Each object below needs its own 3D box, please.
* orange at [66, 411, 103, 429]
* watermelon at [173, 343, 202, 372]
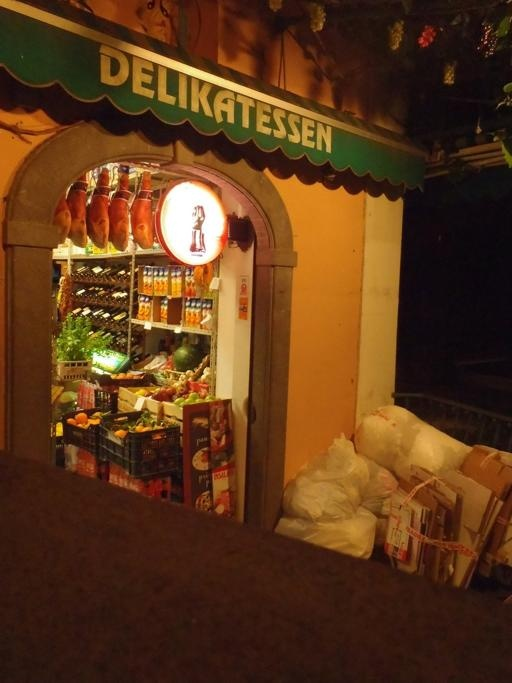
[{"bbox_3d":[-1.340,0.615,4.287,0.166,0.068,0.164,2,3,-1],"label":"orange"},{"bbox_3d":[-0.682,0.141,5.518,0.281,0.324,0.266,-1,-34,10],"label":"watermelon"}]
